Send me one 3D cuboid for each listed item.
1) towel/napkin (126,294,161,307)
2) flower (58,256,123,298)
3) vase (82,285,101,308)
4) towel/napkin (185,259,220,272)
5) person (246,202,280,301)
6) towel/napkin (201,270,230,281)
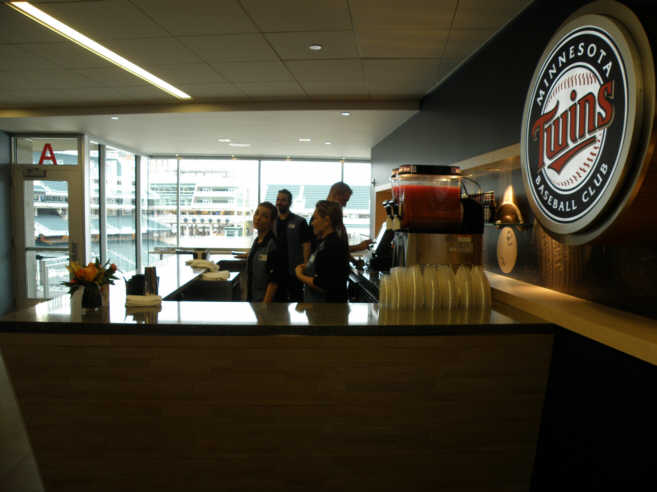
[{"bbox_3d":[-1.028,0.303,2.974,0.181,0.057,0.096,-3,6,-20],"label":"towel/napkin"},{"bbox_3d":[-1.317,0.170,2.974,0.276,0.210,0.261,-2,5,-11],"label":"flower"},{"bbox_3d":[-1.272,0.269,2.879,0.099,0.131,0.052,-3,5,-29],"label":"vase"},{"bbox_3d":[-1.208,0.186,5.178,0.246,0.085,0.153,13,-5,8],"label":"towel/napkin"},{"bbox_3d":[-0.511,0.059,4.128,0.230,0.794,0.442,-1,5,-10],"label":"person"},{"bbox_3d":[-1.014,0.263,4.829,0.244,0.064,0.206,-2,6,-13],"label":"towel/napkin"}]
